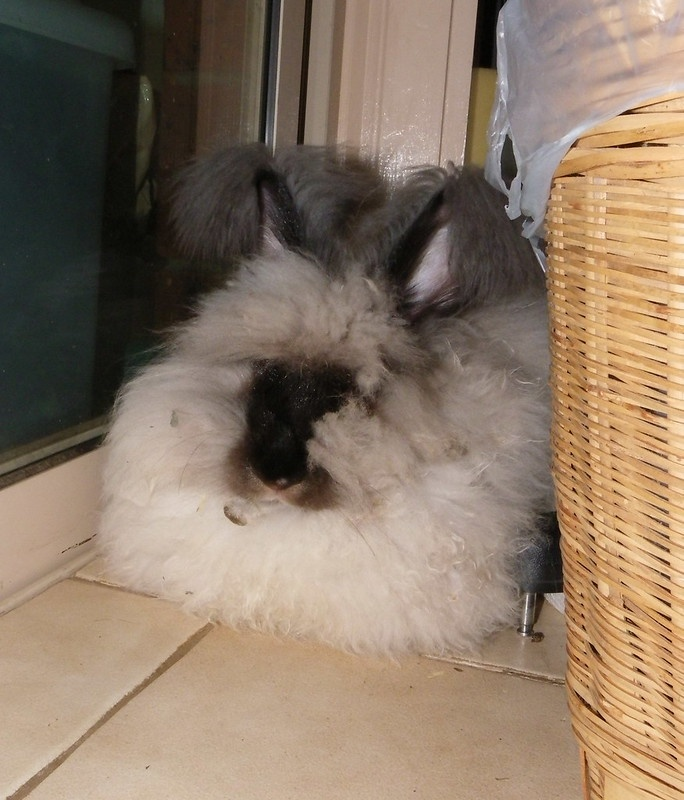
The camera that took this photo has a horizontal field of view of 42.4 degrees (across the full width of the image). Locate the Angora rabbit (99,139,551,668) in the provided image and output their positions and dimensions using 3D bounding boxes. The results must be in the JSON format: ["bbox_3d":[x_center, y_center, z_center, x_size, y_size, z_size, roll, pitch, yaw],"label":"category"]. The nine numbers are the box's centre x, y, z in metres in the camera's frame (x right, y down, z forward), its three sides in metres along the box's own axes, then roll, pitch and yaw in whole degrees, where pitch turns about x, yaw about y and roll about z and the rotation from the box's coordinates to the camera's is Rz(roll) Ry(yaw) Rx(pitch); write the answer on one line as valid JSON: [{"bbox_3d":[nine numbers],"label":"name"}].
[{"bbox_3d":[-0.018,0.003,1.072,0.546,0.603,0.271,2,13,-7],"label":"Angora rabbit"}]
